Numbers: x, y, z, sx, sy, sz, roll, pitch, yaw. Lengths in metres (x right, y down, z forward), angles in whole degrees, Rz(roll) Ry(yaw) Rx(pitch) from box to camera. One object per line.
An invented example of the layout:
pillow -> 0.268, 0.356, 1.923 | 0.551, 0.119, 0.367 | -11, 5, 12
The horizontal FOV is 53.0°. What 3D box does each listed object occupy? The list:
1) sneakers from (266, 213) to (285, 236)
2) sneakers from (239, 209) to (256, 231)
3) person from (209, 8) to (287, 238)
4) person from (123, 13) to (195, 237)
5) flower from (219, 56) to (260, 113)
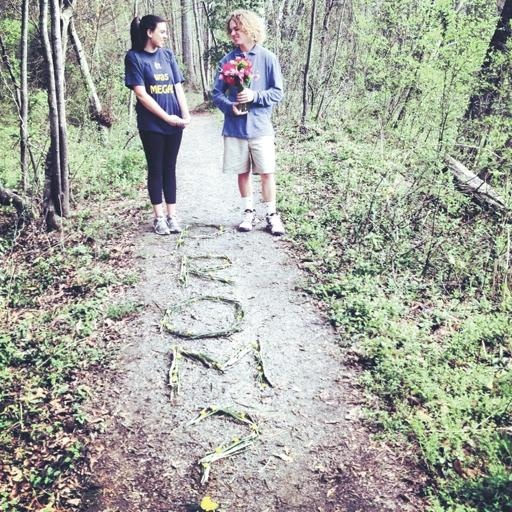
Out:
sneakers -> 0.234, -0.369, 6.081 | 0.137, 0.156, 0.365 | -11, 21, -13
sneakers -> -0.121, -0.435, 6.202 | 0.126, 0.137, 0.345 | 5, 17, 1
person -> -0.058, -1.409, 5.752 | 0.940, 2.387, 0.534 | 7, 26, -3
person -> -1.086, -1.330, 5.563 | 0.676, 2.313, 0.511 | 2, 27, -13
flower -> -0.168, -1.831, 5.534 | 0.561, 0.631, 0.497 | -3, 29, 1
